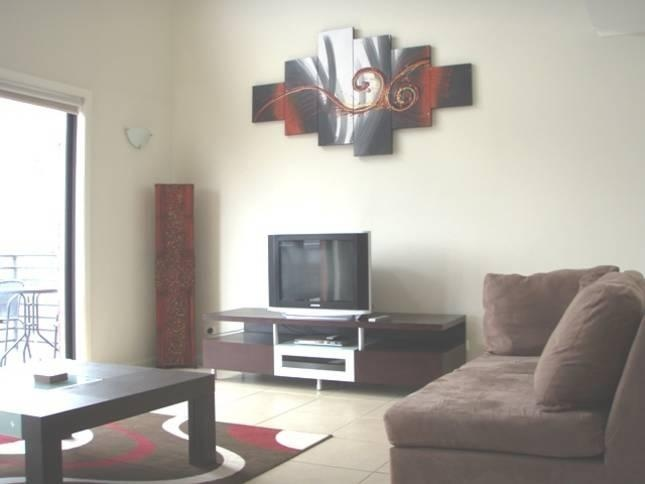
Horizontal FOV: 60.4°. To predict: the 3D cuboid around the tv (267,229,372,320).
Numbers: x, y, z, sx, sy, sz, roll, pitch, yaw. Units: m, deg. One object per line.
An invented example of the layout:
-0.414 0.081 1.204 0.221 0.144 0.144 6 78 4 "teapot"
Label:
-0.137 0.312 5.116 1.026 0.711 0.548 1 -6 -21 "tv"
